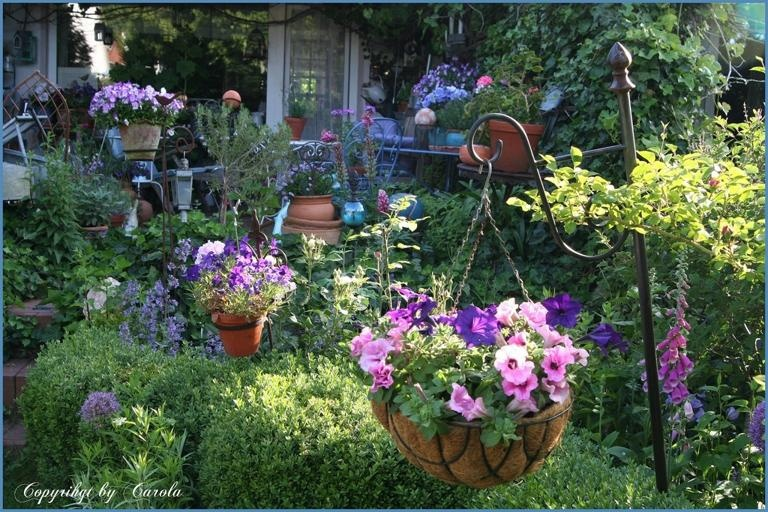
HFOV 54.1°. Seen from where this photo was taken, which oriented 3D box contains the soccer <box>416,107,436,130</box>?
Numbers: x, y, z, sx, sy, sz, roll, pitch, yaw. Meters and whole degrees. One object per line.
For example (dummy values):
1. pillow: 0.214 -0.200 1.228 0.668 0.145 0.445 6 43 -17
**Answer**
1. soccer: 0.455 -1.525 8.231 0.169 0.225 0.175 0 -31 14
